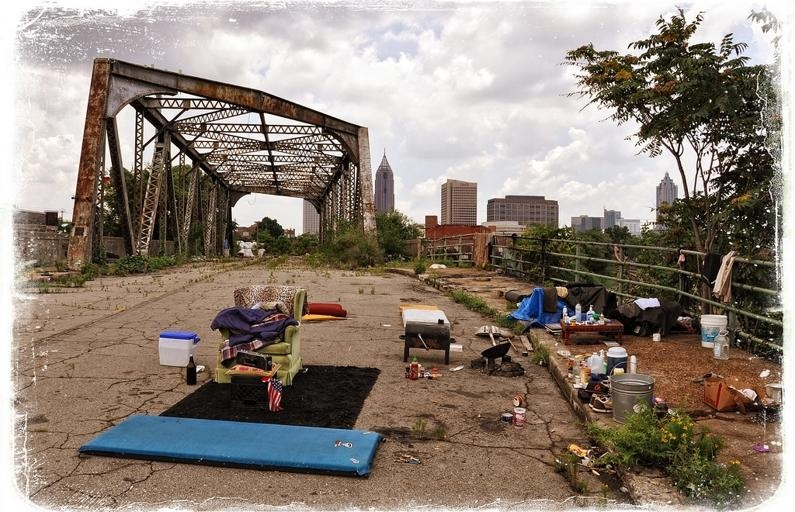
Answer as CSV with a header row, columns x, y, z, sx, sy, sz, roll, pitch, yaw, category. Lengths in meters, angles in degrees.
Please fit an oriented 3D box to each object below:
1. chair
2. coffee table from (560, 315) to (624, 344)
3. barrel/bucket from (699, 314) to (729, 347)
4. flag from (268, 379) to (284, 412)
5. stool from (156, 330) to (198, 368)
x,y,z,sx,sy,sz,roll,pitch,yaw,category
-2.516,1.348,10.120,1.585,1.703,1.401,0,0,5,chair
3.942,1.497,11.617,1.166,0.481,0.975,0,2,15,coffee table
6.062,1.426,10.850,0.521,0.543,0.524,0,-2,0,barrel/bucket
-1.926,2.216,9.220,0.233,0.508,0.360,1,3,13,flag
-4.115,1.755,10.801,0.797,0.562,0.453,3,3,3,stool
